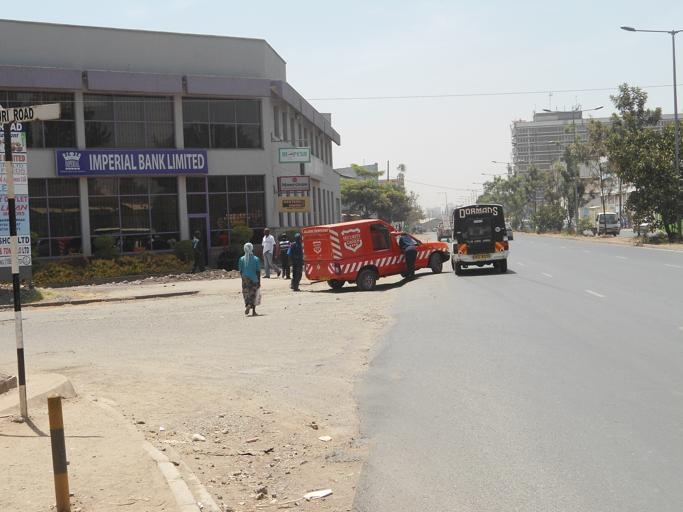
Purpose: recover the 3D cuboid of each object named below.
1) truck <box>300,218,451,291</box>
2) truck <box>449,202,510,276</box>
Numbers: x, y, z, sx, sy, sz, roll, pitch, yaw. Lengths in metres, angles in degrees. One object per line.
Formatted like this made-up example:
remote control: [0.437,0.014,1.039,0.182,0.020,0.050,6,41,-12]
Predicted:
truck: [1.098,-0.108,27.846,4.626,2.151,2.482,-10,9,-42]
truck: [5.670,-0.900,30.711,1.807,2.052,3.155,-1,4,5]
